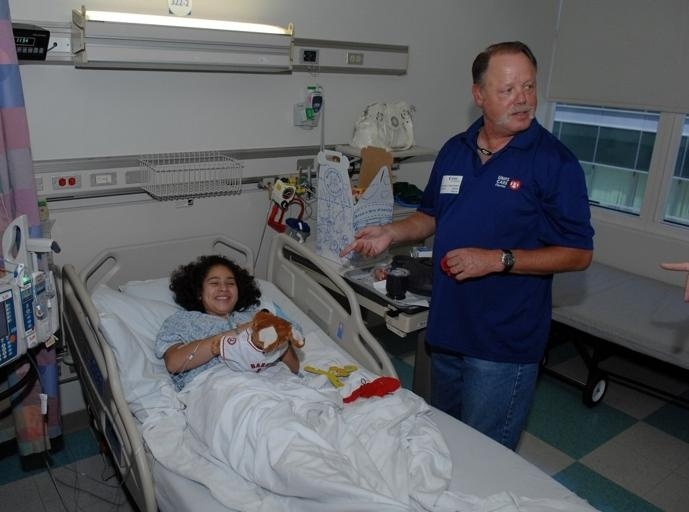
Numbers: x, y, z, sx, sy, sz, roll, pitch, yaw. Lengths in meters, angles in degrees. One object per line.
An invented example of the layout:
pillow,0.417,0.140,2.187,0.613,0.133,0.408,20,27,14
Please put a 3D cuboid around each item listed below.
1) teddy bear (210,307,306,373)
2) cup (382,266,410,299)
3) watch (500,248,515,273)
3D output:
teddy bear,-0.368,0.376,1.961,0.285,0.115,0.300,26,45,8
cup,0.272,0.143,2.384,0.136,0.132,0.121,1,5,-31
watch,0.599,0.015,1.681,0.024,0.068,0.063,5,-21,-6
